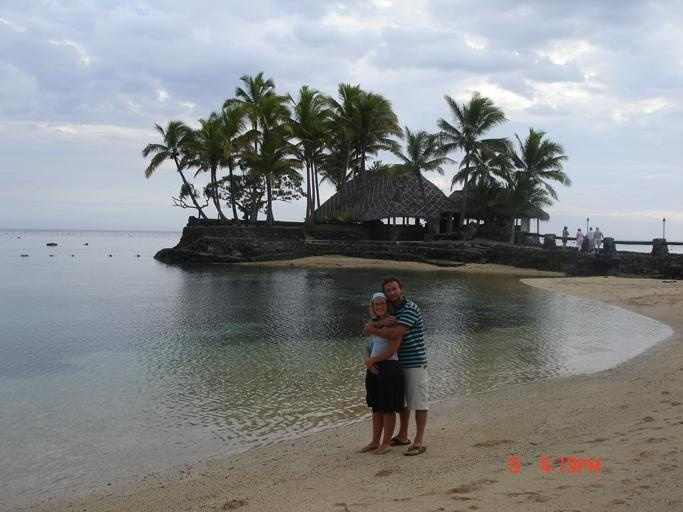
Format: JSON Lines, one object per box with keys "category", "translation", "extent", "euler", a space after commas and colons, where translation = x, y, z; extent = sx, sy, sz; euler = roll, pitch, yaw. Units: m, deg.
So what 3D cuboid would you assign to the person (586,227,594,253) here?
{"category": "person", "translation": [14.819, -0.958, 33.445], "extent": [0.472, 1.318, 1.859], "euler": [-5, 4, 23]}
